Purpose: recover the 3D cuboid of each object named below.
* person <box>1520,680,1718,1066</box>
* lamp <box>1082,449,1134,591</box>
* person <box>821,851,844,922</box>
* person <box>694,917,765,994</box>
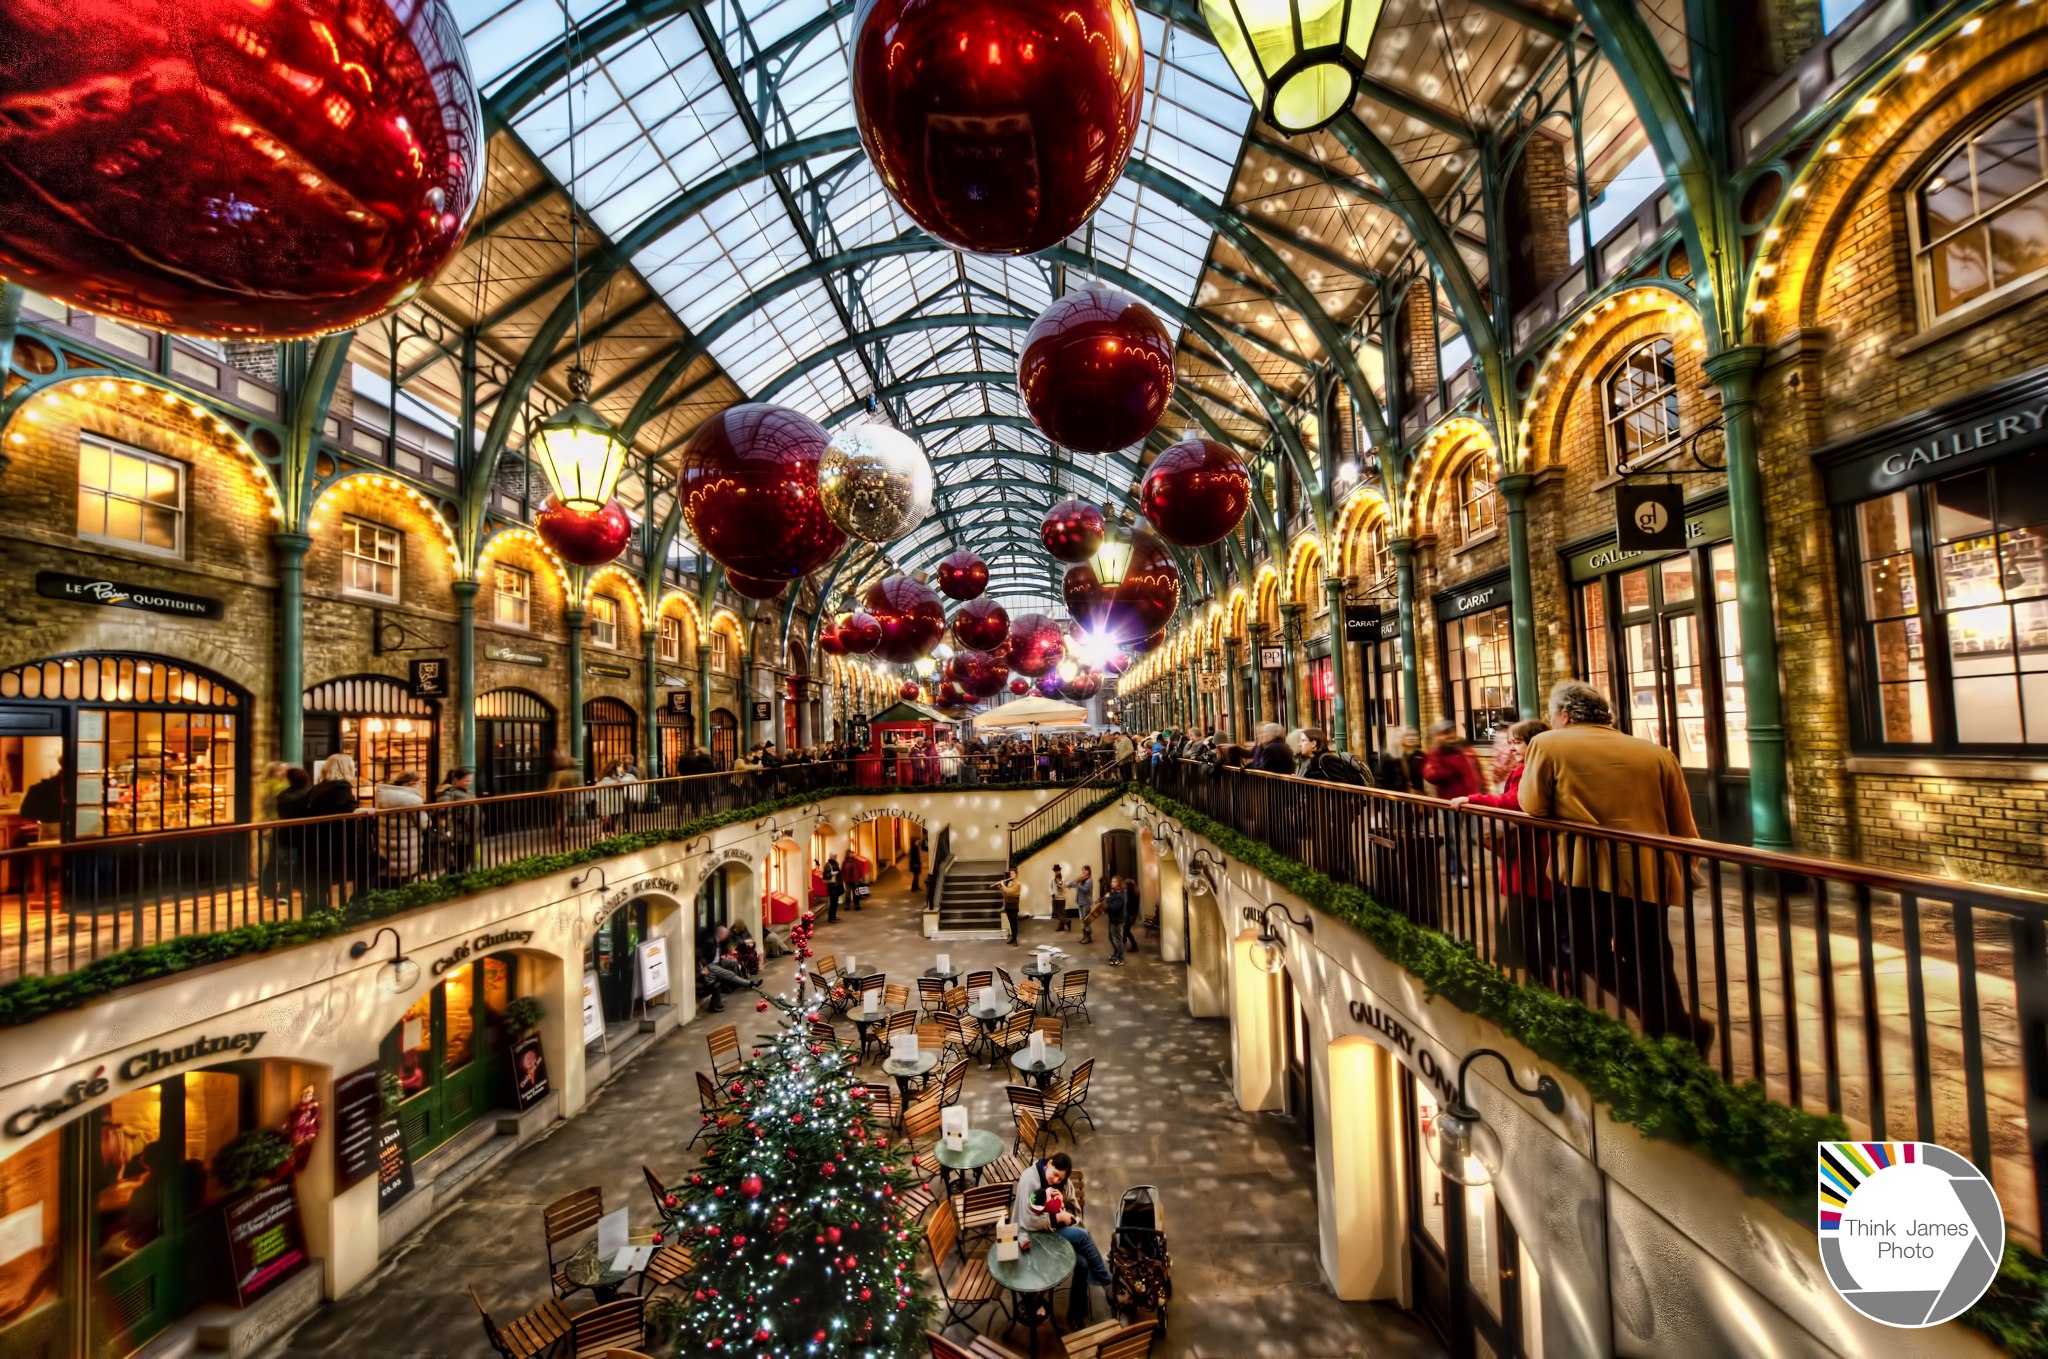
[{"bbox_3d":[4.907,1.368,9.865,1.177,3.035,1.099,-4,15,22],"label":"person"},{"bbox_3d":[0.983,-1.467,13.482,0.658,1.160,0.670,0,-5,3],"label":"lamp"},{"bbox_3d":[-4.685,5.154,29.032,0.401,1.544,2.359,-1,-6,-9],"label":"person"},{"bbox_3d":[-5.670,5.529,22.851,1.010,1.321,0.553,0,11,-18],"label":"person"}]
